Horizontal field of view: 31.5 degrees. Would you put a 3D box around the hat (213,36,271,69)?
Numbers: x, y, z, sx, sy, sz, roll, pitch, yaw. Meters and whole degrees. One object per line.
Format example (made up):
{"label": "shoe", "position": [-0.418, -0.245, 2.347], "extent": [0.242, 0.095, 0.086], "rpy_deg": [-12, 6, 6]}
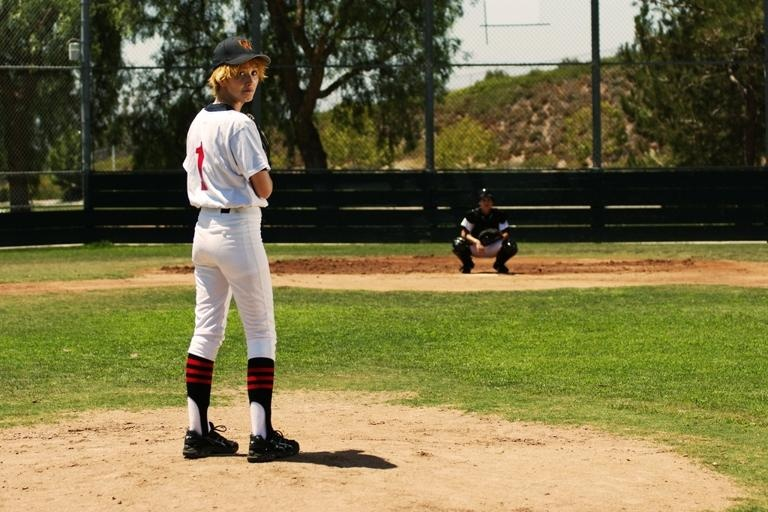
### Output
{"label": "hat", "position": [-1.987, -2.764, 18.780], "extent": [0.596, 0.328, 0.443], "rpy_deg": [-6, 8, 34]}

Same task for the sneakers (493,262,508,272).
{"label": "sneakers", "position": [2.360, 0.203, 27.625], "extent": [0.269, 0.242, 0.246], "rpy_deg": [-1, 4, 5]}

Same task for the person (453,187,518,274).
{"label": "person", "position": [2.006, -0.352, 27.761], "extent": [1.211, 1.348, 0.734], "rpy_deg": [-1, 4, 3]}

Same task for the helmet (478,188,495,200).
{"label": "helmet", "position": [2.088, -1.329, 28.017], "extent": [0.394, 0.218, 0.587], "rpy_deg": [1, -10, 0]}
